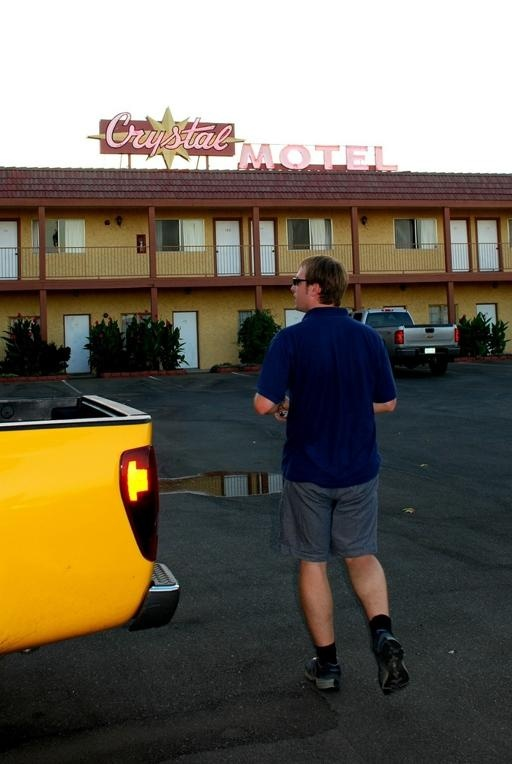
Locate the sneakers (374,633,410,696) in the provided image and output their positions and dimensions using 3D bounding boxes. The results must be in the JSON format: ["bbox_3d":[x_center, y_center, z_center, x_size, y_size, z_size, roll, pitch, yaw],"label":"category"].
[{"bbox_3d":[0.506,1.061,2.474,0.102,0.262,0.117,-2,-9,0],"label":"sneakers"}]

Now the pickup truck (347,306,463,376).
[{"bbox_3d":[4.890,-0.921,20.079,2.391,2.036,4.555,-2,9,-17],"label":"pickup truck"}]

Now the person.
[{"bbox_3d":[0.319,0.344,2.734,0.595,1.788,0.474,-1,-1,13],"label":"person"}]

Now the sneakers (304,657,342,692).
[{"bbox_3d":[0.272,1.172,2.630,0.141,0.110,0.133,-1,0,4],"label":"sneakers"}]
